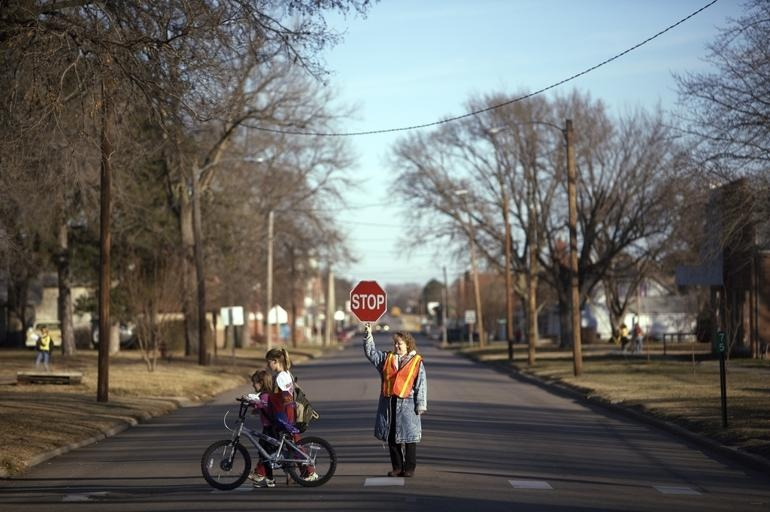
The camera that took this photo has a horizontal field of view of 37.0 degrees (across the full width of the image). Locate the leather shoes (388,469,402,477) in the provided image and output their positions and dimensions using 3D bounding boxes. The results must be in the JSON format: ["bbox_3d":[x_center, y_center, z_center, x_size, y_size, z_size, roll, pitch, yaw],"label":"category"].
[{"bbox_3d":[0.285,5.838,31.110,0.162,0.170,0.368,0,-7,-16],"label":"leather shoes"}]

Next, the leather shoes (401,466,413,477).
[{"bbox_3d":[0.622,5.819,31.067,0.328,0.244,0.156,1,-8,-18],"label":"leather shoes"}]

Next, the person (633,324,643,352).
[{"bbox_3d":[12.981,4.143,59.277,0.454,1.585,2.657,-3,-9,11],"label":"person"}]

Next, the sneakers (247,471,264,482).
[{"bbox_3d":[-3.486,5.904,30.839,0.520,0.272,0.195,5,1,42],"label":"sneakers"}]
